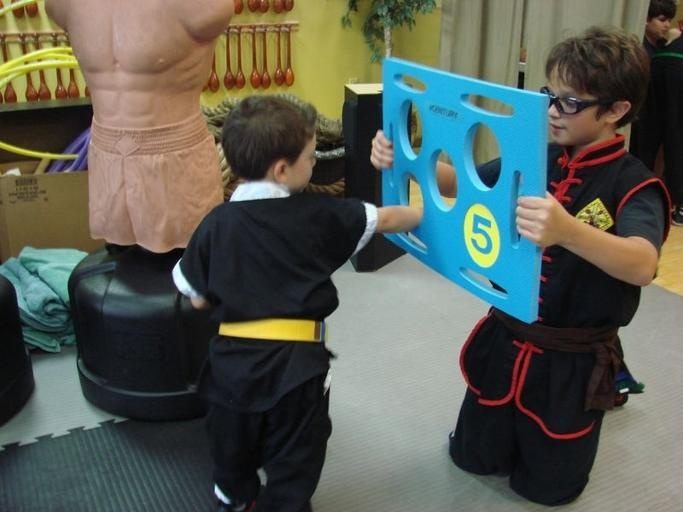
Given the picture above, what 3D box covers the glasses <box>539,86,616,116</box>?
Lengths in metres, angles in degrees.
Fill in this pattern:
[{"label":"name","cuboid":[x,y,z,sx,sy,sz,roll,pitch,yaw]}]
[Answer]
[{"label":"glasses","cuboid":[0.650,-0.445,1.666,0.104,0.064,0.235,-16,28,-33]}]
